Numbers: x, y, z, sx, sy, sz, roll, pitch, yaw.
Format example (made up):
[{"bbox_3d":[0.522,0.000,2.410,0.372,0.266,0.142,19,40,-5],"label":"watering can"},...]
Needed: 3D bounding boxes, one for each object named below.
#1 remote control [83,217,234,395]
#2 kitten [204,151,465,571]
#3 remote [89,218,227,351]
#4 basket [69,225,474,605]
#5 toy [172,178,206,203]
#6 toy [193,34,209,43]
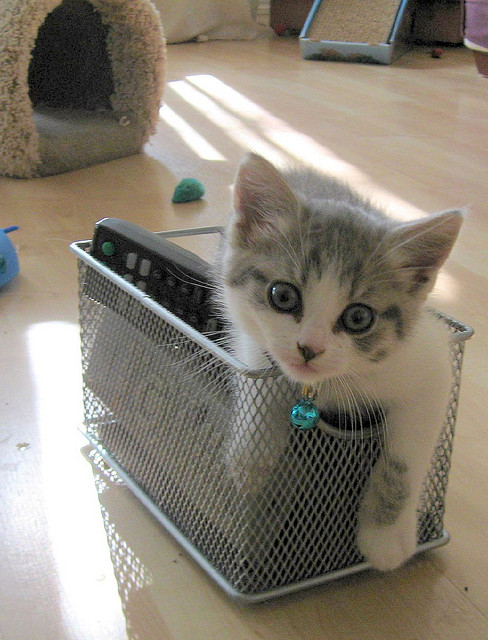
[{"bbox_3d":[-0.092,-0.026,0.759,0.256,0.128,0.064,39,20,19],"label":"remote control"},{"bbox_3d":[0.112,0.029,0.886,0.331,0.386,0.559,12,12,7],"label":"kitten"},{"bbox_3d":[-0.105,-0.049,0.772,0.224,0.101,0.051,26,19,21],"label":"remote"},{"bbox_3d":[-0.024,0.080,0.856,0.364,0.238,0.543,-11,25,-27],"label":"basket"},{"bbox_3d":[-0.148,-0.339,1.646,0.068,0.039,0.080,-6,7,5],"label":"toy"},{"bbox_3d":[-0.265,-1.732,3.855,0.093,0.040,0.062,-8,39,-15],"label":"toy"}]
